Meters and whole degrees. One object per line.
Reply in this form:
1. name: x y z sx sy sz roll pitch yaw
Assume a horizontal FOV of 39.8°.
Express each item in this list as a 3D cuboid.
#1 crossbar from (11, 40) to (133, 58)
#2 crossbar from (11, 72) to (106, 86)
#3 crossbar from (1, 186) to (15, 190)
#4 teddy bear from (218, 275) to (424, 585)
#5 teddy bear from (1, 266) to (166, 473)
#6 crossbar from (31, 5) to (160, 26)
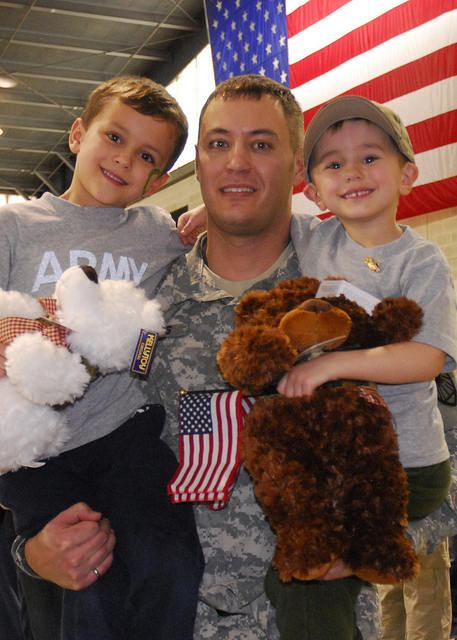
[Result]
1. crossbar: -2.219 -3.874 8.946 2.268 0.093 0.087 -2 39 -17
2. crossbar: -2.673 -3.797 9.917 1.370 0.109 0.356 1 0 -11
3. crossbar: -5.502 -3.307 15.767 0.312 0.015 0.294 1 0 -17
4. teddy bear: 0.131 0.197 1.285 0.487 0.532 0.207 -2 -12 -14
5. teddy bear: -0.311 0.100 1.327 0.351 0.306 0.225 1 0 -8
6. crossbar: -1.694 -3.919 8.076 1.353 0.080 0.086 6 18 -19
